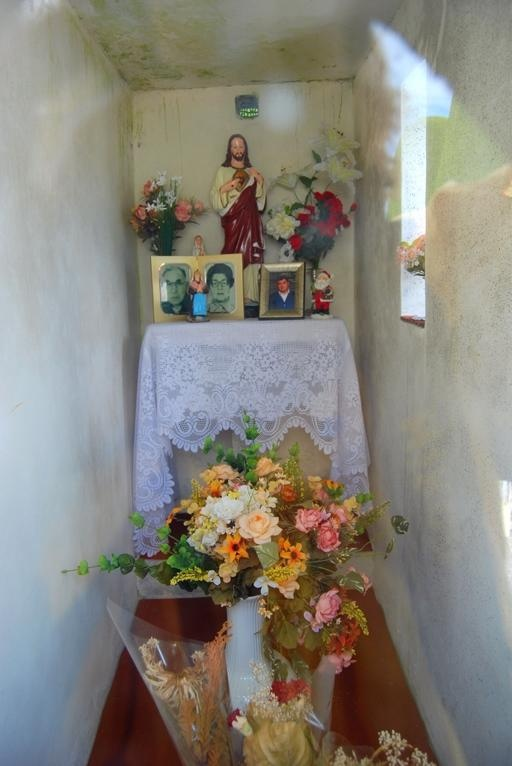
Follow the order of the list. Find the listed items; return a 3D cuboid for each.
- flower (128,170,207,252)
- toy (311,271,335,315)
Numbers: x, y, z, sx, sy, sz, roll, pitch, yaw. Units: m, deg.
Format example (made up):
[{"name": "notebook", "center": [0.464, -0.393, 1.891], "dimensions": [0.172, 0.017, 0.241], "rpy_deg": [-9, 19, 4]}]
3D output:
[{"name": "flower", "center": [-0.431, -0.807, 2.791], "dimensions": [0.362, 0.413, 0.371], "rpy_deg": [-11, 24, -20]}, {"name": "toy", "center": [0.291, -0.395, 2.549], "dimensions": [0.085, 0.196, 0.145], "rpy_deg": [-1, 8, 6]}]
